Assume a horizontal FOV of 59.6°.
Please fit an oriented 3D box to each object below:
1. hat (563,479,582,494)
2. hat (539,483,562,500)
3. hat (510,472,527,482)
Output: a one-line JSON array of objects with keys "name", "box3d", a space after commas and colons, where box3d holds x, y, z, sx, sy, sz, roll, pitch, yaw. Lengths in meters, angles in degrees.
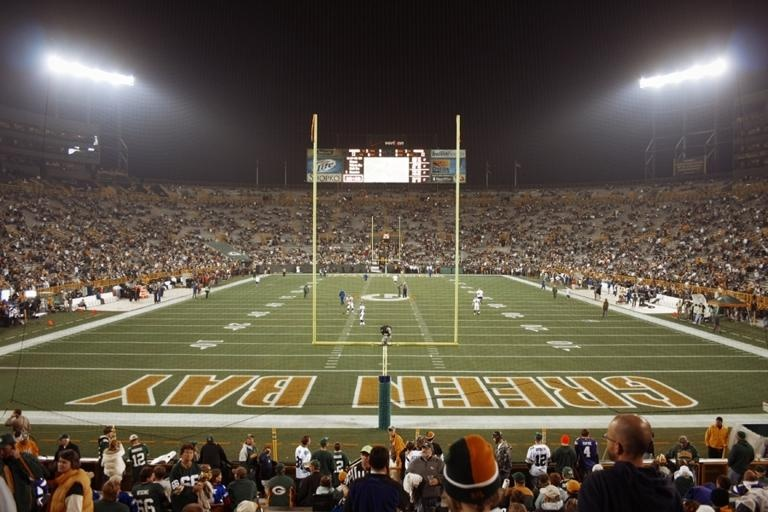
[{"name": "hat", "box3d": [5.116, 6.250, 18.301, 0.385, 0.382, 0.505, 2, 13, 10]}, {"name": "hat", "box3d": [4.374, 6.286, 17.808, 0.496, 0.380, 0.340, 4, 14, 15]}, {"name": "hat", "box3d": [3.673, 6.193, 18.633, 0.450, 0.153, 0.478, 2, 4, -5]}]
